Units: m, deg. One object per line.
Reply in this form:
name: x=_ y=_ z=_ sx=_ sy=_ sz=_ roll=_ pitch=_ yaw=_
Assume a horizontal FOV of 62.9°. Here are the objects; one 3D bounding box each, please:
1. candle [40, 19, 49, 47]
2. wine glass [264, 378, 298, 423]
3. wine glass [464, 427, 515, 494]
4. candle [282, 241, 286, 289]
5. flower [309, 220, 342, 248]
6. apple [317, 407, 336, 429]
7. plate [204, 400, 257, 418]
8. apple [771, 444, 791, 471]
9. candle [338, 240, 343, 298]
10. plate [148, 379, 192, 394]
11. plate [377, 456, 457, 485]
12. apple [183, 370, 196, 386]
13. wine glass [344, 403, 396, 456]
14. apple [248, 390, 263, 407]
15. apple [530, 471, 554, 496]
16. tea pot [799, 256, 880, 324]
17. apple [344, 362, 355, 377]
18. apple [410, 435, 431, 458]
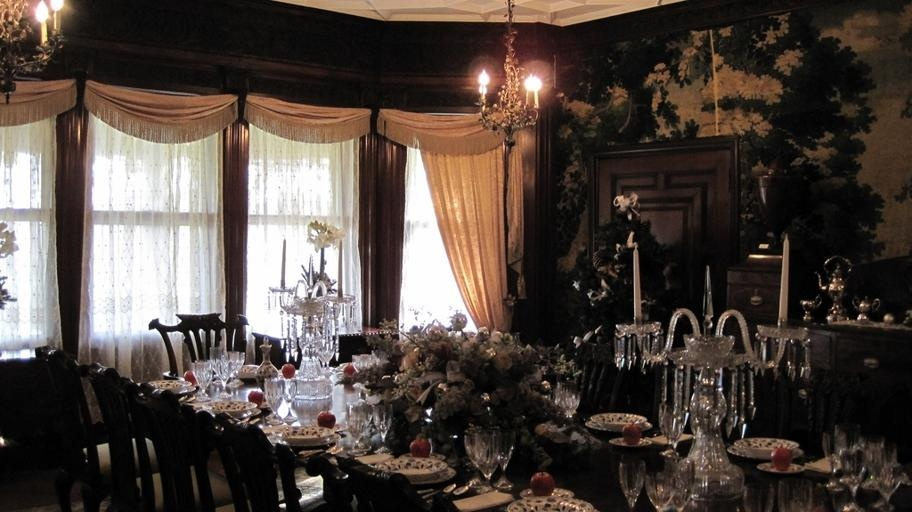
candle: x=-3.000 y=-1.633 z=5.458 sx=0.037 sy=0.185 sz=0.156 roll=1 pitch=-4 yaw=-29
wine glass: x=-1.248 y=1.034 z=5.358 sx=0.213 sy=0.339 sz=0.369 roll=0 pitch=-4 yaw=-12
wine glass: x=0.209 y=1.245 z=4.618 sx=0.285 sy=0.378 sz=0.311 roll=-1 pitch=-4 yaw=3
candle: x=-1.361 y=0.062 z=5.895 sx=0.035 sy=0.387 sz=0.298 roll=1 pitch=-4 yaw=-16
flower: x=-1.195 y=-0.193 z=6.786 sx=0.279 sy=0.263 sz=0.441 roll=0 pitch=-4 yaw=-13
apple: x=-0.881 y=1.136 z=5.171 sx=0.158 sy=0.128 sz=0.147 roll=2 pitch=-4 yaw=-31
plate: x=-1.611 y=1.104 z=5.357 sx=0.227 sy=0.051 sz=0.216 roll=6 pitch=6 yaw=1
apple: x=2.100 y=1.298 z=4.786 sx=0.192 sy=0.139 sz=0.099 roll=1 pitch=-4 yaw=-25
candle: x=-1.293 y=0.096 z=8.357 sx=0.066 sy=0.523 sz=0.119 roll=-1 pitch=-3 yaw=3
plate: x=-2.173 y=1.006 z=5.717 sx=0.207 sy=0.045 sz=0.201 roll=9 pitch=-4 yaw=-43
plate: x=-0.258 y=1.336 z=4.678 sx=0.488 sy=0.136 sz=0.246 roll=0 pitch=-4 yaw=-9
apple: x=-2.206 y=1.018 z=6.242 sx=0.128 sy=0.103 sz=0.142 roll=1 pitch=2 yaw=8
wine glass: x=-0.532 y=1.161 z=5.007 sx=0.345 sy=0.355 sz=0.351 roll=2 pitch=-7 yaw=-2
apple: x=-1.526 y=1.092 z=5.719 sx=0.102 sy=0.101 sz=0.097 roll=1 pitch=2 yaw=-8
apple: x=0.507 y=1.350 z=4.476 sx=0.134 sy=0.152 sz=0.132 roll=-13 pitch=-7 yaw=2
tea pot: x=3.661 y=0.342 z=7.096 sx=0.650 sy=0.543 sz=0.220 roll=0 pitch=0 yaw=38
apple: x=-0.896 y=0.968 z=6.339 sx=0.103 sy=0.098 sz=0.100 roll=0 pitch=20 yaw=0
apple: x=-0.225 y=1.233 z=4.826 sx=0.128 sy=0.120 sz=0.160 roll=-1 pitch=-4 yaw=5
